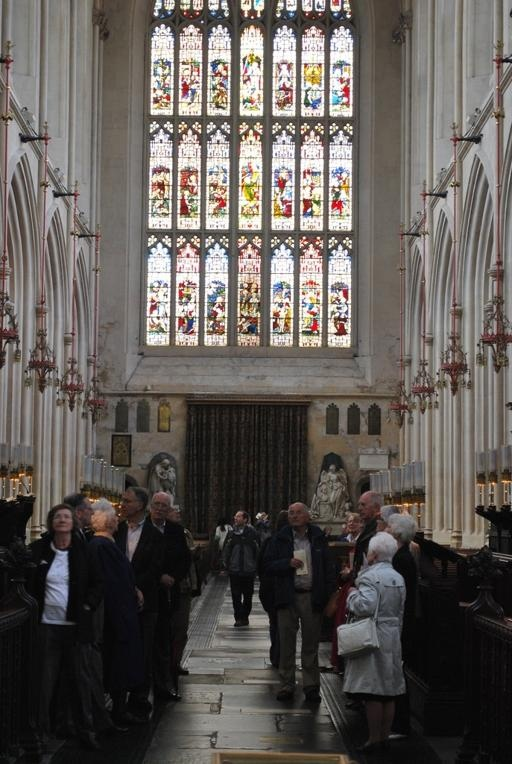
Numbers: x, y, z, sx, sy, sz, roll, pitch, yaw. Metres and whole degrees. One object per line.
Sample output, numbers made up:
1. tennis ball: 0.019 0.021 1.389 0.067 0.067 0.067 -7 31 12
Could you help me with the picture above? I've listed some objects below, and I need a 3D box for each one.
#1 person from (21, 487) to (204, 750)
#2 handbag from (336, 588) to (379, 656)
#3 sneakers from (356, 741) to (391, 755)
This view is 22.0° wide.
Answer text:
1. person: -1.155 1.644 8.961 0.598 1.678 1.510 -1 -3 6
2. handbag: 0.676 1.668 8.767 0.271 0.397 0.227 -1 -3 4
3. sneakers: 0.780 2.463 8.768 0.073 0.091 0.211 -27 15 -39
